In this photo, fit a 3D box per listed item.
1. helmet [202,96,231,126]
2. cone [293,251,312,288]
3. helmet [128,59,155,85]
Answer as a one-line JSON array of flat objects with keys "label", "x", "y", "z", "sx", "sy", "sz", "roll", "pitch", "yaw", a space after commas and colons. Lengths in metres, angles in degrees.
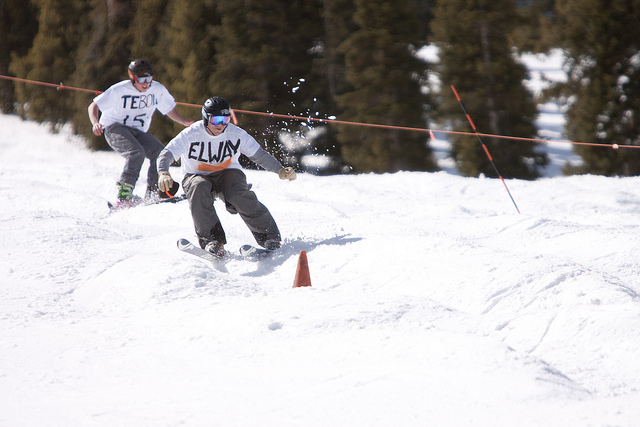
[{"label": "helmet", "x": -1.396, "y": -1.368, "z": 10.205, "sx": 0.313, "sy": 0.346, "sz": 0.380, "roll": 10, "pitch": -44, "yaw": -30}, {"label": "cone", "x": -0.220, "y": 0.666, "z": 9.324, "sx": 0.211, "sy": 0.425, "sz": 0.183, "roll": 1, "pitch": 6, "yaw": -2}, {"label": "helmet", "x": -2.764, "y": -2.208, "z": 12.111, "sx": 0.416, "sy": 0.371, "sz": 0.320, "roll": -2, "pitch": 15, "yaw": -7}]
